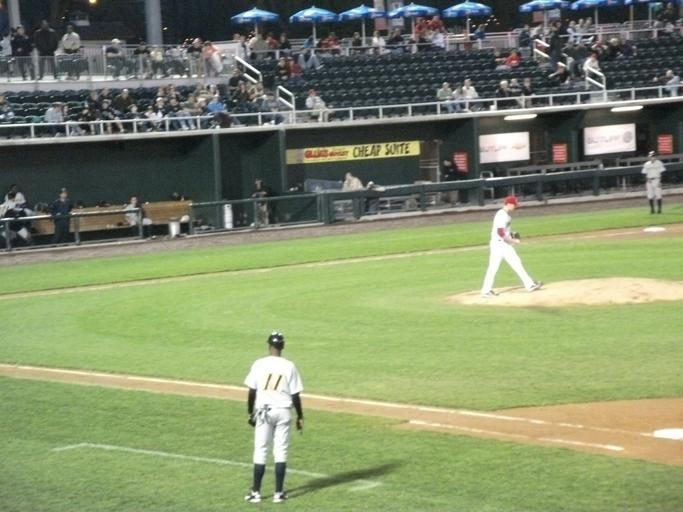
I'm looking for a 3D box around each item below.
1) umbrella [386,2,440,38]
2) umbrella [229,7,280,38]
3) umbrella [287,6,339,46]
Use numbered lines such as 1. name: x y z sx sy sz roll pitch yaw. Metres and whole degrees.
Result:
1. umbrella: 3.073 -9.523 68.253 1.709 0.907 1.550 -1 5 -19
2. umbrella: -3.293 -9.210 65.603 1.738 1.005 1.611 5 17 16
3. umbrella: -0.896 -9.494 67.378 2.342 1.535 2.032 1 8 2
